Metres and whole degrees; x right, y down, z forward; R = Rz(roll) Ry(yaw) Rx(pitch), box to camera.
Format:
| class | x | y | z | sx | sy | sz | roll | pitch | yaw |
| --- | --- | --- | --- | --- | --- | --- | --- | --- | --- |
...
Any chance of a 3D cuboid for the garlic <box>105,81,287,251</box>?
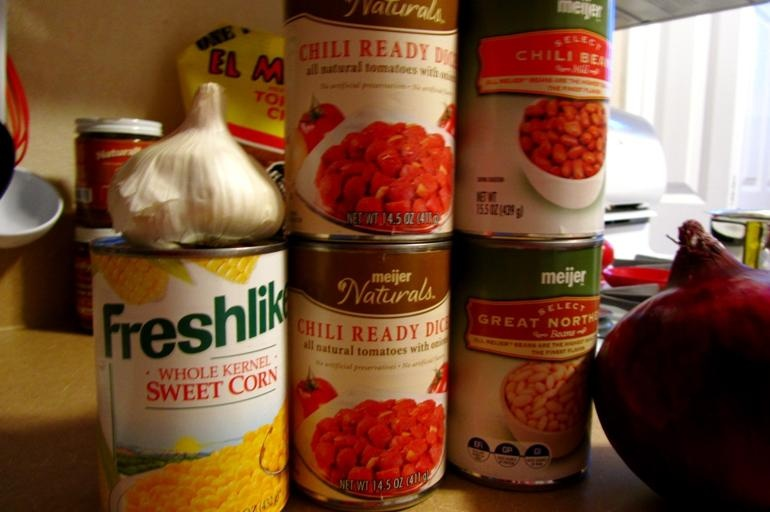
| class | x | y | z | sx | sy | sz | roll | pitch | yaw |
| --- | --- | --- | --- | --- | --- | --- | --- | --- | --- |
| garlic | -0.216 | -0.093 | 0.760 | 0.169 | 0.160 | 0.162 | 0 | 3 | -42 |
